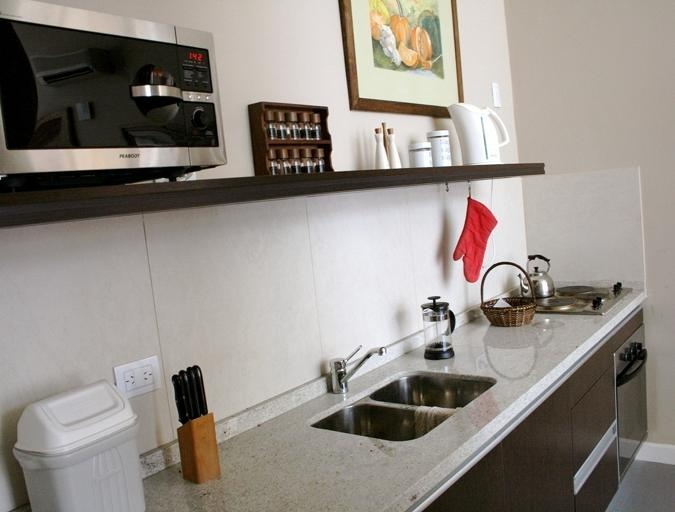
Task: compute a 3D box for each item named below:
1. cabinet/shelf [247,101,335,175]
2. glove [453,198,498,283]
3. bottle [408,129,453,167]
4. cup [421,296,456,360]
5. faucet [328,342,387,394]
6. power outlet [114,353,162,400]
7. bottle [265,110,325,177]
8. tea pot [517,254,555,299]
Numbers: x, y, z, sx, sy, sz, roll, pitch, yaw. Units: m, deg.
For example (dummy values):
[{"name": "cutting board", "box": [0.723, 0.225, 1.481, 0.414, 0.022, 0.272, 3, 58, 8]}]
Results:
[{"name": "cabinet/shelf", "box": [-0.154, -0.390, 1.761, 0.286, 0.271, 0.086, -12, 10, -43]}, {"name": "glove", "box": [0.696, -0.071, 2.561, 0.172, 0.407, 0.048, 16, 13, 36]}, {"name": "bottle", "box": [0.390, -0.457, 2.148, 0.174, 0.165, 0.325, -4, 8, 11]}, {"name": "cup", "box": [0.431, 0.301, 2.172, 0.145, 0.248, 0.142, -6, 2, 0]}, {"name": "faucet", "box": [0.073, 0.413, 1.824, 0.242, 0.165, 0.060, -10, -8, 38]}, {"name": "power outlet", "box": [-0.569, 0.337, 1.416, 0.014, 0.117, 0.132, -2, 1, 40]}, {"name": "bottle", "box": [-0.156, -0.380, 1.714, 0.081, 0.287, 0.289, -3, 0, 39]}, {"name": "tea pot", "box": [1.120, 0.117, 2.880, 0.220, 0.266, 0.155, 1, -3, -17]}]
